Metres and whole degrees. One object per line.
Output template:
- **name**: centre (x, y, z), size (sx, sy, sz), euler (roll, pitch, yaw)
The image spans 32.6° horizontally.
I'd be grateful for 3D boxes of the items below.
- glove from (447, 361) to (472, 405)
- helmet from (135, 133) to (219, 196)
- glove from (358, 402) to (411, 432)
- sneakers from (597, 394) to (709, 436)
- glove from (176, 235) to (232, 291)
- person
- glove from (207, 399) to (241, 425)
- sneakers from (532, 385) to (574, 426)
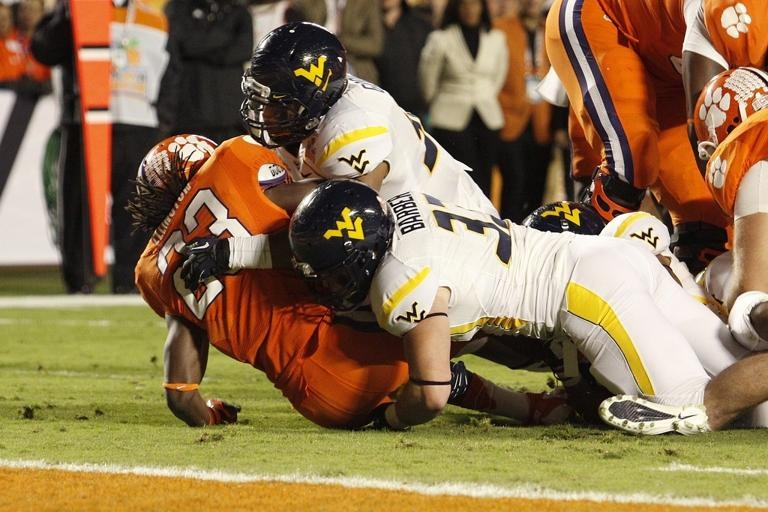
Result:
- **glove**: centre (0.326, 0.555, 5.776), size (0.059, 0.153, 0.113), euler (14, 14, -3)
- **helmet**: centre (-0.941, -0.392, 5.855), size (0.319, 0.254, 0.252), euler (-21, -3, 1)
- **glove**: centre (0.004, 0.706, 5.619), size (0.161, 0.064, 0.133), euler (-23, 46, 16)
- **sneakers**: centre (1.094, 0.662, 5.451), size (0.445, 0.188, 0.167), euler (1, 39, 6)
- **glove**: centre (-0.739, 0.014, 5.481), size (0.212, 0.212, 0.093), euler (-16, -20, 24)
- **person**: centre (-0.018, 0.135, 6.029), size (3.121, 1.251, 1.125), euler (2, 4, 5)
- **glove**: centre (-0.692, 0.686, 5.747), size (0.122, 0.059, 0.092), euler (13, -2, 44)
- **sneakers**: centre (0.742, 0.667, 5.808), size (0.169, 0.140, 0.075), euler (-5, -24, 9)
